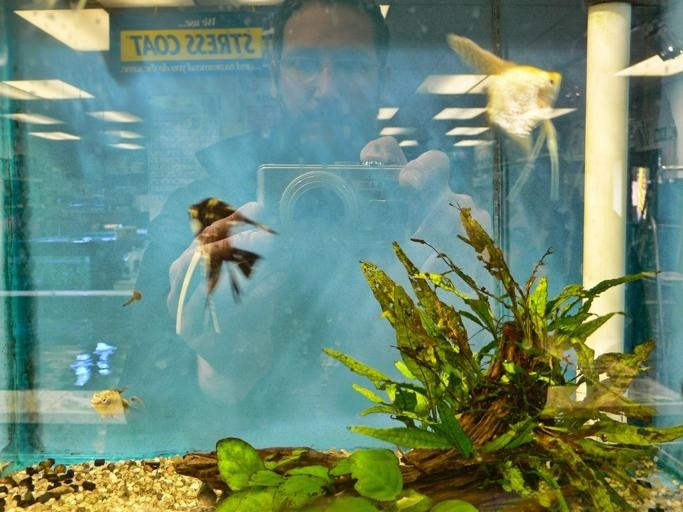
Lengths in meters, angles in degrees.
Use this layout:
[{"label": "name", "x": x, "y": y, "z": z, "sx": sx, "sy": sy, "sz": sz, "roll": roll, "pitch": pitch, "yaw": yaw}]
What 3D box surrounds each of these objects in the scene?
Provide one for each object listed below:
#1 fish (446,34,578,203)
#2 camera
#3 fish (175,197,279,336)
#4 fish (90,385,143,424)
[{"label": "fish", "x": 0.683, "y": -0.557, "z": 2.675, "sx": 0.463, "sy": 0.683, "sz": 0.045, "roll": -7, "pitch": 3, "yaw": -5}, {"label": "camera", "x": -0.039, "y": -0.215, "z": 2.640, "sx": 0.531, "sy": 0.298, "sz": 0.159, "roll": -2, "pitch": 9, "yaw": 0}, {"label": "fish", "x": -0.498, "y": -0.020, "z": 2.807, "sx": 0.336, "sy": 0.311, "sz": 0.501, "roll": -7, "pitch": -29, "yaw": 32}, {"label": "fish", "x": -0.916, "y": 0.601, "z": 2.744, "sx": 0.156, "sy": 0.081, "sz": 0.117, "roll": 2, "pitch": 5, "yaw": -28}]
